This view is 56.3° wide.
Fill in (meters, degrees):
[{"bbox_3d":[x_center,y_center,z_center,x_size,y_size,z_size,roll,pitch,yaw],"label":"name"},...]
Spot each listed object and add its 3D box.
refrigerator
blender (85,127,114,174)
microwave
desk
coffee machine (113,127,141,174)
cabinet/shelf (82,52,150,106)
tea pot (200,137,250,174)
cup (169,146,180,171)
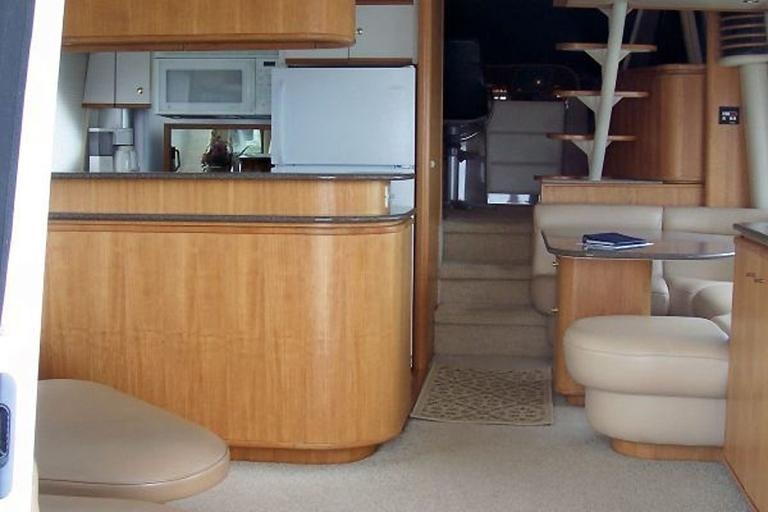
[{"bbox_3d":[-0.117,-0.870,5.151,1.440,1.264,0.980,1,5,7],"label":"refrigerator"},{"bbox_3d":[-2.316,-0.881,5.869,0.211,0.342,0.313,-7,13,-27],"label":"blender"},{"bbox_3d":[-1.167,-1.341,5.680,1.128,0.480,0.579,5,9,19],"label":"microwave"},{"bbox_3d":[1.186,0.132,3.580,1.171,0.781,0.909,1,4,2],"label":"desk"},{"bbox_3d":[-2.097,-0.869,5.793,0.184,0.337,0.340,-5,12,-20],"label":"coffee machine"},{"bbox_3d":[-2.109,-1.417,5.733,0.538,0.449,0.168,0,-1,3],"label":"cabinet/shelf"},{"bbox_3d":[-1.307,-0.842,5.807,0.394,0.286,0.114,3,12,17],"label":"tea pot"},{"bbox_3d":[-1.717,-0.814,5.906,0.088,0.203,0.046,-5,12,-19],"label":"cup"}]
